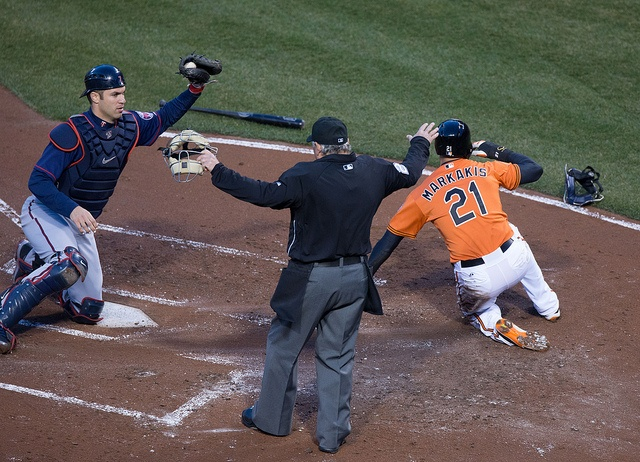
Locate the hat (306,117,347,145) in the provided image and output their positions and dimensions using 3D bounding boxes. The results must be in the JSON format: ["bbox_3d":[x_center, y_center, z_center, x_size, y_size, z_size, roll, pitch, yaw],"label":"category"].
[{"bbox_3d":[0.080,-0.902,7.623,0.258,0.167,0.313,-6,21,-18],"label":"hat"}]

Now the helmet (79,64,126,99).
[{"bbox_3d":[-2.200,-1.533,8.779,0.561,0.286,0.391,-4,18,26],"label":"helmet"}]

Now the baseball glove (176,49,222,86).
[{"bbox_3d":[-1.232,-1.691,8.987,0.425,0.202,0.570,-4,3,39],"label":"baseball glove"}]

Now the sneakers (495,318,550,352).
[{"bbox_3d":[2.050,1.047,8.830,0.584,0.275,0.309,20,0,37],"label":"sneakers"}]
